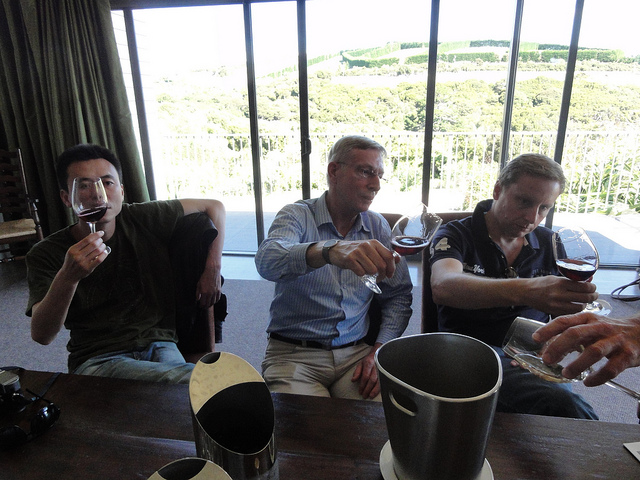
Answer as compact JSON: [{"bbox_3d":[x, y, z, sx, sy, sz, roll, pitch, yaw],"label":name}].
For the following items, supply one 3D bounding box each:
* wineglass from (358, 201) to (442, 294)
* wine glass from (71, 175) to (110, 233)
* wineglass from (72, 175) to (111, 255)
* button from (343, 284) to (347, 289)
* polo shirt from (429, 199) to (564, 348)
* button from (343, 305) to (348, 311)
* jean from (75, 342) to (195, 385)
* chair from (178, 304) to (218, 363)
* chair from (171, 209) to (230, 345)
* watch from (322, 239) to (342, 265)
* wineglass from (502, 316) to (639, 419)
[{"bbox_3d":[0.348,0.020,1.903,0.168,0.373,0.154,13,32,17],"label":"wineglass"},{"bbox_3d":[-0.886,-0.135,1.808,0.127,0.212,0.074,7,19,16],"label":"wine glass"},{"bbox_3d":[-0.870,-0.111,1.804,0.116,0.254,0.327,-13,23,-36],"label":"wineglass"},{"bbox_3d":[0.111,0.207,2.053,0.018,0.014,0.009,-10,21,-32],"label":"button"},{"bbox_3d":[0.847,0.166,2.159,0.695,0.657,0.341,2,5,-3],"label":"polo shirt"},{"bbox_3d":[0.114,0.302,2.049,0.015,0.019,0.024,17,23,39],"label":"button"},{"bbox_3d":[-0.702,0.487,1.914,0.490,0.161,0.274,-7,-1,21],"label":"jean"},{"bbox_3d":[-0.574,0.429,2.209,0.160,0.149,0.276,-16,61,10],"label":"chair"},{"bbox_3d":[-0.581,0.194,2.200,0.226,0.612,0.194,-5,21,-17],"label":"chair"},{"bbox_3d":[0.032,0.037,1.728,0.049,0.087,0.083,19,36,26],"label":"watch"},{"bbox_3d":[0.659,0.331,1.349,0.239,0.154,0.165,13,21,31],"label":"wineglass"}]
